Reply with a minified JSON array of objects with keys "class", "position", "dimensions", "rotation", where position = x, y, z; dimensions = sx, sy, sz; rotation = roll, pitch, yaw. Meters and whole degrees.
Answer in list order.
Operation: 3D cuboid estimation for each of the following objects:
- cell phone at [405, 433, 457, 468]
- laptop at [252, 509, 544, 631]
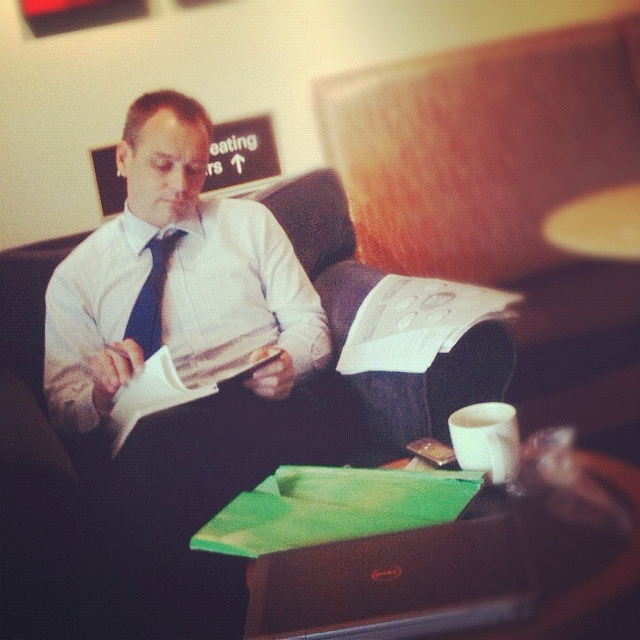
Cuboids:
[{"class":"cell phone","position":[0.201,0.231,1.181],"dimensions":[0.050,0.011,0.079],"rotation":[-13,13,-24]},{"class":"laptop","position":[0.108,0.348,0.886],"dimensions":[0.402,0.091,0.151],"rotation":[-10,16,-4]}]
